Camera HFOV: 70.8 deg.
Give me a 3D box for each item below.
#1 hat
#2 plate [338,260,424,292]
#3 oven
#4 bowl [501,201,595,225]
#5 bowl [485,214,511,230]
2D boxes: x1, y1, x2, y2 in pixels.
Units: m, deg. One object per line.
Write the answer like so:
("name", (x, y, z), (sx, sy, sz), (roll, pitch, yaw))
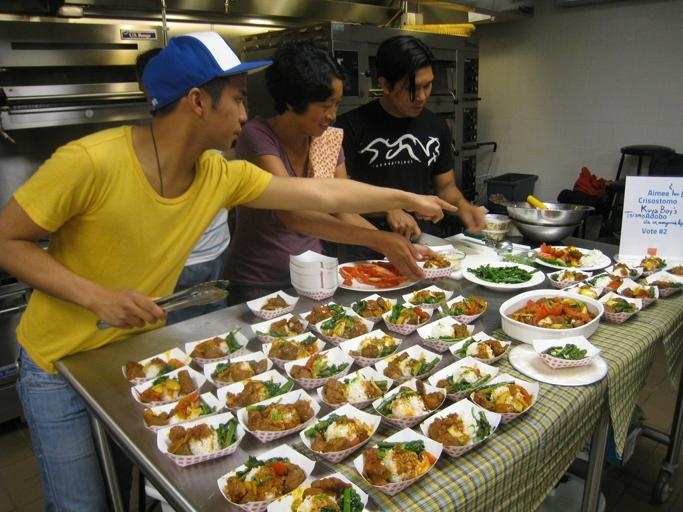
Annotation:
("hat", (-0.415, -0.561, 1.486), (0.337, 0.169, 0.195), (-13, 26, -7))
("plate", (0.133, 0.094, 2.076), (0.188, 0.025, 0.183), (-6, 20, -24))
("oven", (0.374, -1.175, 4.385), (1.652, 1.507, 0.970), (-7, 15, -24))
("bowl", (1.081, -0.232, 2.564), (0.308, 0.072, 0.306), (1, 8, 0))
("bowl", (0.812, -0.182, 2.505), (0.107, 0.040, 0.105), (-1, 12, 0))
